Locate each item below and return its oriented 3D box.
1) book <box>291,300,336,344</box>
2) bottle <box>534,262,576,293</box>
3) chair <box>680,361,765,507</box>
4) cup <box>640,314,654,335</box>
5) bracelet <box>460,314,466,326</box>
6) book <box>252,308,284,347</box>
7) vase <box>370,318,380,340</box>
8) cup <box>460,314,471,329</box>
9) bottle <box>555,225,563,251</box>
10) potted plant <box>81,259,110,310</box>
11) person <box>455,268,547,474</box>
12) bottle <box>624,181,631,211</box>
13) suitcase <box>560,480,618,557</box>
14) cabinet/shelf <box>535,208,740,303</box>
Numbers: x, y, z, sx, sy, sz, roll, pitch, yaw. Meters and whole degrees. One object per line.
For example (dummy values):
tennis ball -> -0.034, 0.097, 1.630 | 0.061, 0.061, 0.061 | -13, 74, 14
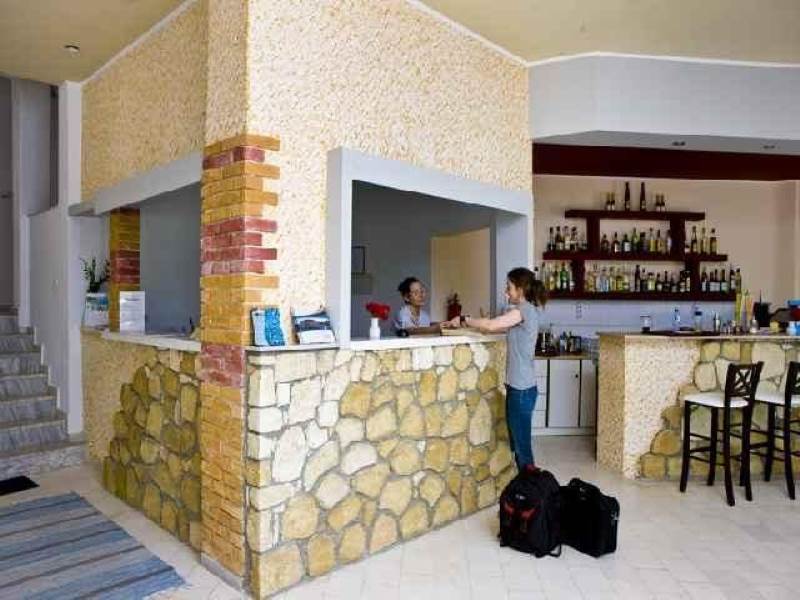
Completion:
book -> -0.630, 0.193, 4.772 | 0.290, 0.251, 0.185 | -8, 14, -37
bottle -> 1.972, -0.288, 8.035 | 0.402, 0.423, 0.143 | 0, -5, 3
chair -> 3.089, 1.204, 6.155 | 0.714, 1.326, 0.870 | 2, 11, 11
cup -> 2.972, 0.302, 7.715 | 0.194, 0.208, 0.363 | 0, -1, 19
bracelet -> 0.564, 0.179, 5.771 | 0.024, 0.072, 0.049 | 7, -12, -26
book -> -0.951, 0.197, 4.619 | 0.235, 0.265, 0.219 | -3, 11, -17
vase -> -0.202, 0.233, 5.166 | 0.080, 0.142, 0.258 | 0, 11, -1
cup -> 0.621, 0.202, 6.074 | 0.087, 0.103, 0.258 | -1, -4, 5
bottle -> 2.096, -0.821, 8.444 | 0.092, 0.283, 0.175 | 1, 11, 6
potted plant -> -3.306, -0.180, 6.964 | 0.257, 0.500, 0.622 | -5, 12, -27
person -> 0.939, 0.664, 5.682 | 0.616, 1.866, 0.684 | 3, 11, 13
bottle -> 3.043, -1.405, 8.576 | 0.095, 0.370, 0.145 | 4, 11, 20
suitcase -> 1.505, 1.783, 5.132 | 0.284, 0.535, 0.512 | -1, 1, -33
cabinet/shelf -> 3.143, -0.577, 8.430 | 2.586, 1.191, 0.492 | 0, 11, -3
